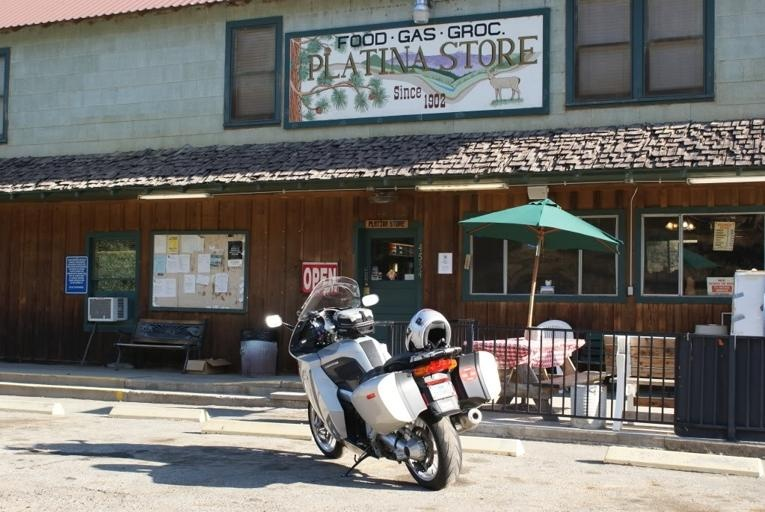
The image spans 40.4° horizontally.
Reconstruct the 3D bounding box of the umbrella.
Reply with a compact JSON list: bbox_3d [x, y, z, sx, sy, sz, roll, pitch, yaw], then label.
[{"bbox_3d":[2.630,0.136,17.591,2.219,2.116,2.277,2,-4,-13],"label":"umbrella"}]

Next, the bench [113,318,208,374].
[{"bbox_3d":[-4.572,1.810,21.277,1.893,1.045,0.745,-1,-5,19],"label":"bench"}]

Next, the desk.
[{"bbox_3d":[2.154,2.099,16.968,1.065,0.602,1.220,3,-7,-16],"label":"desk"}]

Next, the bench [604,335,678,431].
[{"bbox_3d":[4.242,2.022,17.150,1.085,1.443,3.022,0,-5,15],"label":"bench"}]

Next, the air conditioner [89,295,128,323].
[{"bbox_3d":[-5.744,1.111,21.664,0.787,0.567,0.490,0,0,20],"label":"air conditioner"}]
